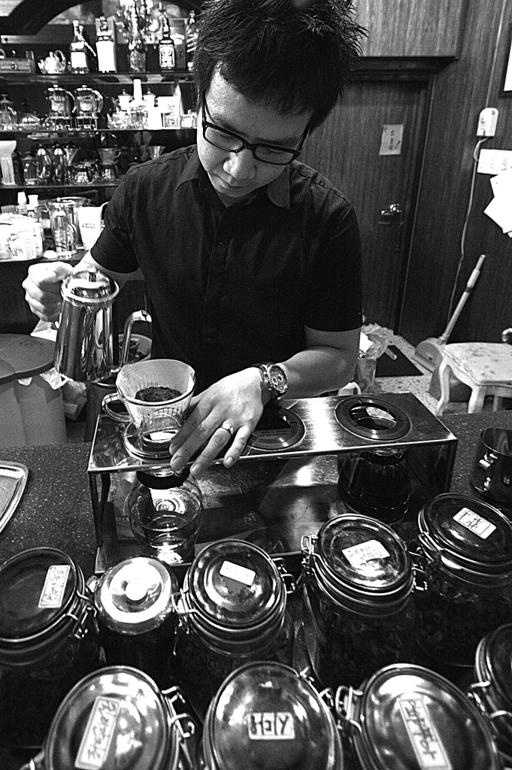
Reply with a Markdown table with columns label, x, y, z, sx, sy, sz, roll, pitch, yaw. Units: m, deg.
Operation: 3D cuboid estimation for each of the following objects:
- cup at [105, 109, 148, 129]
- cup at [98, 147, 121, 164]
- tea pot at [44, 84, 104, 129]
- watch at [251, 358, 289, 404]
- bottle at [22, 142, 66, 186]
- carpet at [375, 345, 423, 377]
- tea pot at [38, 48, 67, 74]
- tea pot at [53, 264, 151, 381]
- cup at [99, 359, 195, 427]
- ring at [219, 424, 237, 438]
| label | x | y | z | sx | sy | sz | roll | pitch | yaw |
| --- | --- | --- | --- | --- | --- | --- | --- | --- | --- |
| cup | -0.904 | -1.866 | 3.659 | 0.143 | 0.080 | 0.208 | 26 | 40 | 28 |
| cup | -1.074 | -1.666 | 3.823 | 0.141 | 0.120 | 0.128 | -4 | 16 | -10 |
| tea pot | -1.253 | -1.932 | 3.666 | 0.383 | 0.377 | 0.257 | -4 | 40 | -9 |
| watch | 0.023 | -0.003 | 0.874 | 0.057 | 0.045 | 0.091 | 3 | 23 | -8 |
| bottle | -1.540 | -1.589 | 3.852 | 0.281 | 0.315 | 0.303 | 0 | 51 | -8 |
| carpet | 1.093 | -0.191 | 4.220 | 0.371 | 0.076 | 0.611 | 6 | 24 | -3 |
| tea pot | -1.377 | -2.224 | 3.563 | 0.182 | 0.191 | 0.138 | -16 | 39 | -30 |
| tea pot | -0.245 | -0.087 | 0.817 | 0.089 | 0.198 | 0.162 | 11 | 22 | 13 |
| cup | -0.142 | 0.003 | 0.649 | 0.094 | 0.064 | 0.077 | -8 | 46 | -14 |
| ring | -0.039 | 0.064 | 0.702 | 0.015 | 0.014 | 0.016 | -10 | 48 | 44 |
